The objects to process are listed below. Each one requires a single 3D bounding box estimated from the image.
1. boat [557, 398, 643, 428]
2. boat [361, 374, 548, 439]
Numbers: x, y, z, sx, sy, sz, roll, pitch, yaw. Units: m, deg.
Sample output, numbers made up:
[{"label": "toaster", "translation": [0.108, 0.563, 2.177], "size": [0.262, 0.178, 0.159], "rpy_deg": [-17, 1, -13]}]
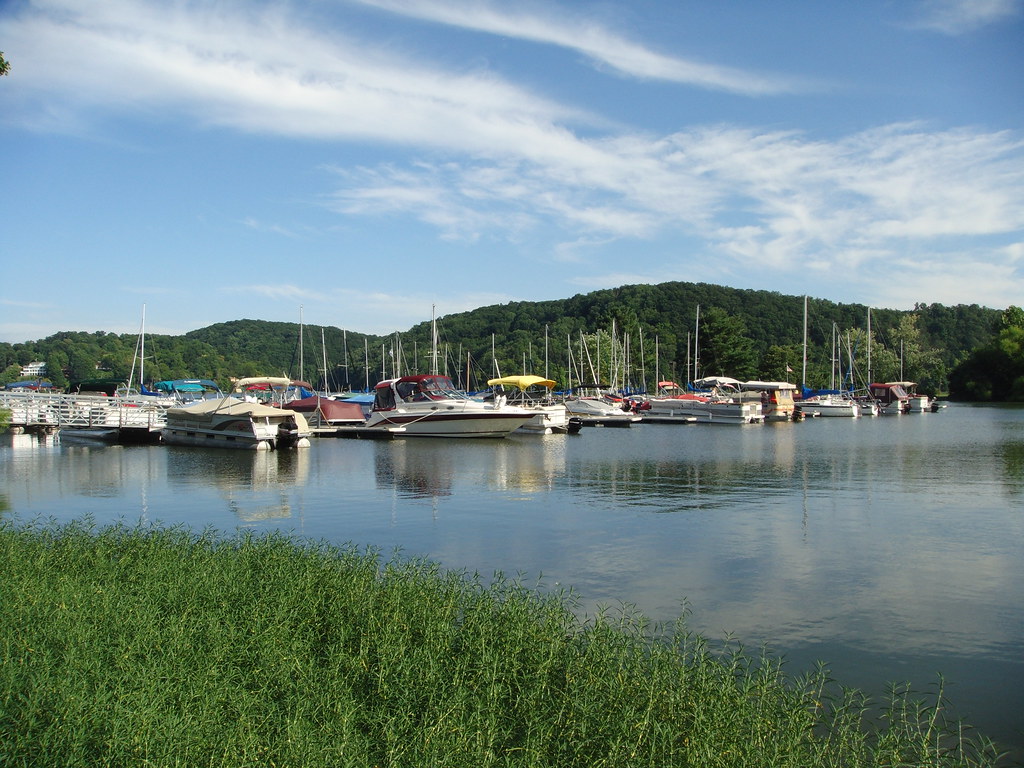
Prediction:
[{"label": "boat", "translation": [7.064, 2.303, 72.876], "size": [4.900, 1.567, 2.508], "rpy_deg": [-1, 1, 27]}, {"label": "boat", "translation": [-3.478, 1.369, 53.295], "size": [10.465, 3.430, 3.811], "rpy_deg": [-1, 2, 26]}]
